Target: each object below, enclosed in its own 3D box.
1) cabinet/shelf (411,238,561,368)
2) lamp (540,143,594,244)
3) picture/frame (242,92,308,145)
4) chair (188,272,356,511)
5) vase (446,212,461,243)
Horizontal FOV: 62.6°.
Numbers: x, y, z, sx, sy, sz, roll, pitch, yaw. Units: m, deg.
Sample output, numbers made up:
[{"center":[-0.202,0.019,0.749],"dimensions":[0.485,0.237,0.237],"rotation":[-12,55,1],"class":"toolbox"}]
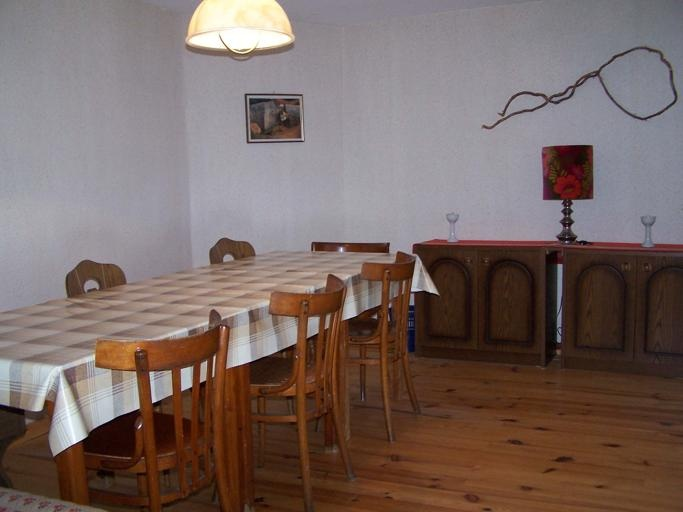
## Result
[{"center":[1.135,0.366,4.415],"dimensions":[0.932,0.837,0.374],"rotation":[0,1,21],"class":"cabinet/shelf"},{"center":[1.743,-0.480,4.368],"dimensions":[0.362,0.757,0.326],"rotation":[0,11,12],"class":"lamp"},{"center":[-0.637,-1.274,5.130],"dimensions":[0.437,0.375,0.034],"rotation":[-2,7,1],"class":"picture/frame"},{"center":[-0.297,0.556,3.058],"dimensions":[0.888,1.455,0.883],"rotation":[5,7,29],"class":"chair"},{"center":[0.951,-0.260,4.823],"dimensions":[0.117,0.253,0.442],"rotation":[0,10,12],"class":"vase"}]
